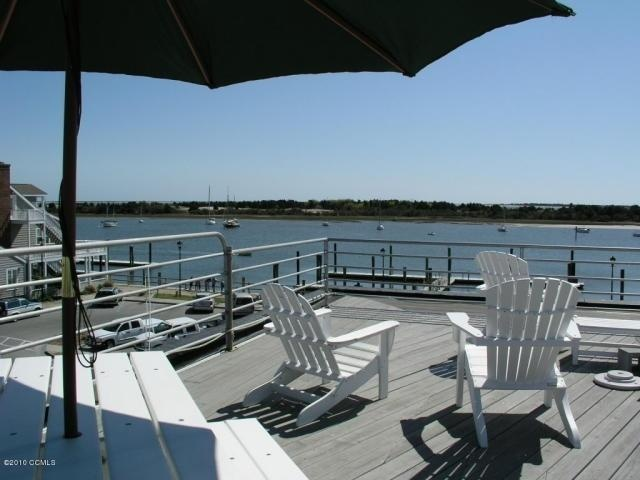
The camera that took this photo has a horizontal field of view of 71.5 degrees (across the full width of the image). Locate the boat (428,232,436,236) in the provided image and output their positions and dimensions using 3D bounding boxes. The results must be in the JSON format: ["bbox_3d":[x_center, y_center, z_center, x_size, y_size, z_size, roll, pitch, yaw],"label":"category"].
[{"bbox_3d":[22.349,-1.393,88.291,1.258,0.370,1.150,0,0,-11],"label":"boat"}]

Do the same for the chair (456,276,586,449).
[{"bbox_3d":[1.486,0.912,3.491,1.010,0.994,1.196,2,-12,0],"label":"chair"}]

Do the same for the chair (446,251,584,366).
[{"bbox_3d":[1.529,0.670,3.370,0.778,0.574,0.691,2,-14,34],"label":"chair"}]

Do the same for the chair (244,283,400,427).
[{"bbox_3d":[-0.002,0.880,3.963,1.073,1.010,1.339,6,10,43],"label":"chair"}]
